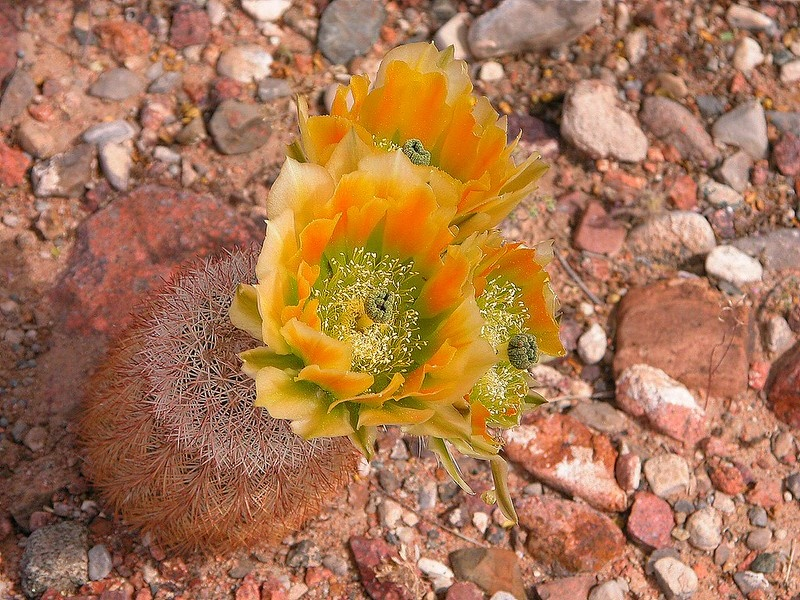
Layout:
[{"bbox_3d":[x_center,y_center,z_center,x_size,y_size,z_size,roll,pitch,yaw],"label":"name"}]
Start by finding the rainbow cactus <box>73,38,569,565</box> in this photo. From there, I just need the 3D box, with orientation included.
[{"bbox_3d":[-0.505,0.360,2.968,1.762,0.946,1.117,-46,65,27],"label":"rainbow cactus"}]

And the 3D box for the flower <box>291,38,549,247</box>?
[{"bbox_3d":[0.000,-0.487,2.652,0.743,0.323,0.702,-4,65,-30],"label":"flower"}]
